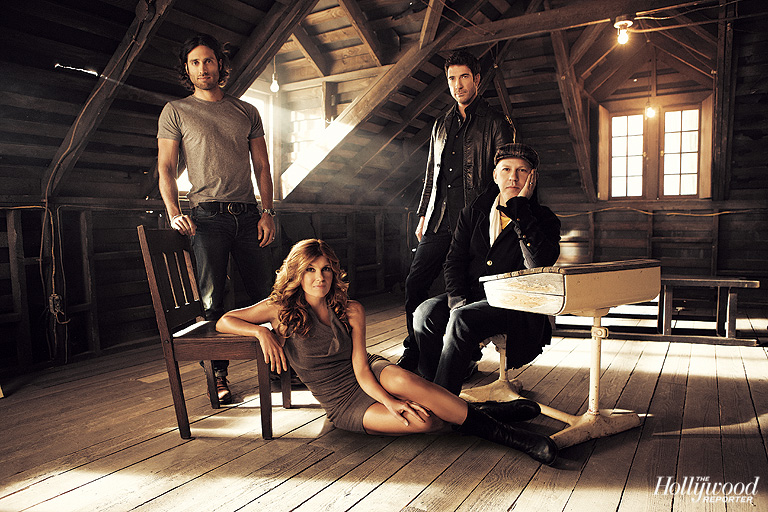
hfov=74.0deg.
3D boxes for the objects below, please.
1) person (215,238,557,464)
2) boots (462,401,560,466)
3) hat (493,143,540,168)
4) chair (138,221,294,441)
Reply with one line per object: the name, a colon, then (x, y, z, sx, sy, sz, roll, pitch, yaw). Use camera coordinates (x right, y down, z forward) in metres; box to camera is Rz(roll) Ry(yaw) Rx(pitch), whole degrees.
person: (-0.050, 0.338, 3.454, 2.340, 1.262, 0.955, 8, 29, 15)
boots: (0.869, 1.061, 3.103, 0.685, 0.426, 0.225, 2, -6, 20)
hat: (0.867, -0.665, 3.358, 0.260, 0.159, 0.160, 1, 11, 9)
chair: (-1.044, 0.475, 3.404, 1.042, 1.225, 0.998, -3, 5, -41)
